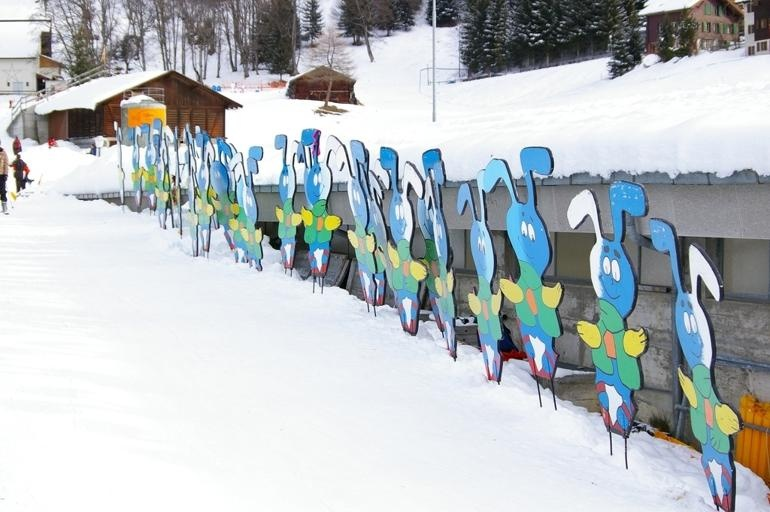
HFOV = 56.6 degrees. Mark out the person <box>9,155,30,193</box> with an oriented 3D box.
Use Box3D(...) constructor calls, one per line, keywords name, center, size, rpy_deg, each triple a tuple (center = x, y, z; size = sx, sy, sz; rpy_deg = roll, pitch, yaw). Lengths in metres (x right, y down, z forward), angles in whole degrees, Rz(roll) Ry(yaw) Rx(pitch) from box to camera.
Box3D(name="person", center=(-13.696, -3.088, 26.896), size=(0.475, 1.473, 3.247), rpy_deg=(-5, 11, -27))
